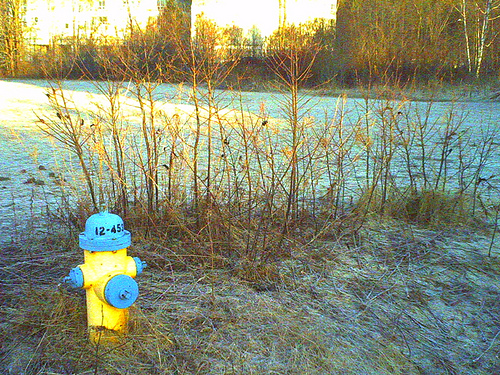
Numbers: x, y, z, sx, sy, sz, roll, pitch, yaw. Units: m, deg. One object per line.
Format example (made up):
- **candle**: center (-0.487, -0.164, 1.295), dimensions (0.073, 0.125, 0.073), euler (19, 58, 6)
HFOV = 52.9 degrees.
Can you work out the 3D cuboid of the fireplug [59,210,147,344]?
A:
- **fireplug**: center (-1.146, 0.708, 4.028), dimensions (0.543, 1.032, 0.328), euler (4, 15, 8)
